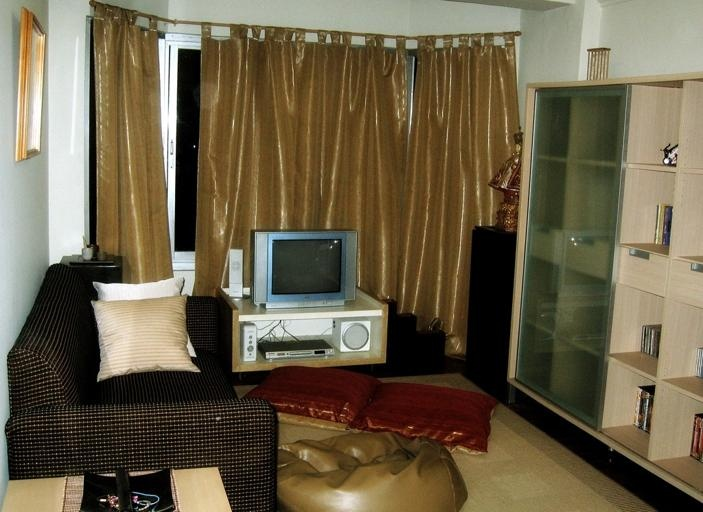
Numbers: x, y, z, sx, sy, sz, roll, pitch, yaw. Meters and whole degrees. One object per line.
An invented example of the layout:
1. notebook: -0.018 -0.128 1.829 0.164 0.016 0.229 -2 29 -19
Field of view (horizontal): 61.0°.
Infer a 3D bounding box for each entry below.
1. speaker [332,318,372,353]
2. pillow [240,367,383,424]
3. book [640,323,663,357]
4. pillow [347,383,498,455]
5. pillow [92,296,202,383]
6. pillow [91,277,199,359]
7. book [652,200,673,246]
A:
1. speaker: 0.002 0.634 4.903 0.263 0.283 0.274 0 2 -13
2. pillow: -0.241 0.898 3.899 0.469 0.123 0.504 3 4 21
3. book: 1.859 0.493 3.764 0.154 0.225 0.224 4 6 32
4. pillow: 0.503 1.058 3.922 0.862 0.263 0.636 3 10 13
5. pillow: -1.378 0.594 3.851 0.528 0.530 0.163 0 -19 -22
6. pillow: -1.405 0.349 4.016 0.576 0.588 0.170 -12 -7 -40
7. book: 1.850 -0.202 3.553 0.135 0.259 0.260 3 5 28
